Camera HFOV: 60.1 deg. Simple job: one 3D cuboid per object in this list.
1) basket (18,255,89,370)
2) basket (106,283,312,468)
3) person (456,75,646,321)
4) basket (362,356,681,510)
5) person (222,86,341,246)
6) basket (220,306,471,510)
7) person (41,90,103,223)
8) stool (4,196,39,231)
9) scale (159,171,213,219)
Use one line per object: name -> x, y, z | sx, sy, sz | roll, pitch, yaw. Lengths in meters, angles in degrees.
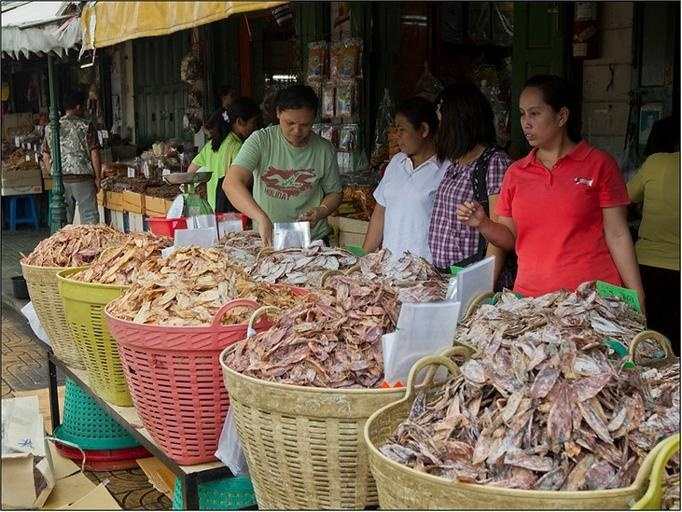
basket -> -1.469, 0.259, 2.985 | 0.498, 0.507, 0.460 | -1, 4, -19
basket -> -0.473, 0.383, 2.012 | 0.526, 0.494, 0.538 | 2, -6, -14
person -> 0.979, -0.306, 2.622 | 0.698, 0.979, 0.339 | 1, 12, 15
basket -> 0.305, 0.317, 1.273 | 0.409, 0.239, 0.497 | 2, -5, -38
person -> -0.274, -0.501, 3.455 | 0.749, 0.939, 0.566 | -10, 14, -34
basket -> 0.001, 0.408, 1.602 | 0.527, 0.448, 0.493 | 1, 1, 44
person -> -3.753, -1.363, 8.235 | 0.678, 1.842, 1.176 | -7, 13, -25
stool -> -6.236, -0.850, 11.527 | 0.610, 0.894, 0.610 | 6, 11, 43
scale -> -1.078, -0.447, 4.149 | 0.343, 0.353, 0.335 | -12, 22, -33
